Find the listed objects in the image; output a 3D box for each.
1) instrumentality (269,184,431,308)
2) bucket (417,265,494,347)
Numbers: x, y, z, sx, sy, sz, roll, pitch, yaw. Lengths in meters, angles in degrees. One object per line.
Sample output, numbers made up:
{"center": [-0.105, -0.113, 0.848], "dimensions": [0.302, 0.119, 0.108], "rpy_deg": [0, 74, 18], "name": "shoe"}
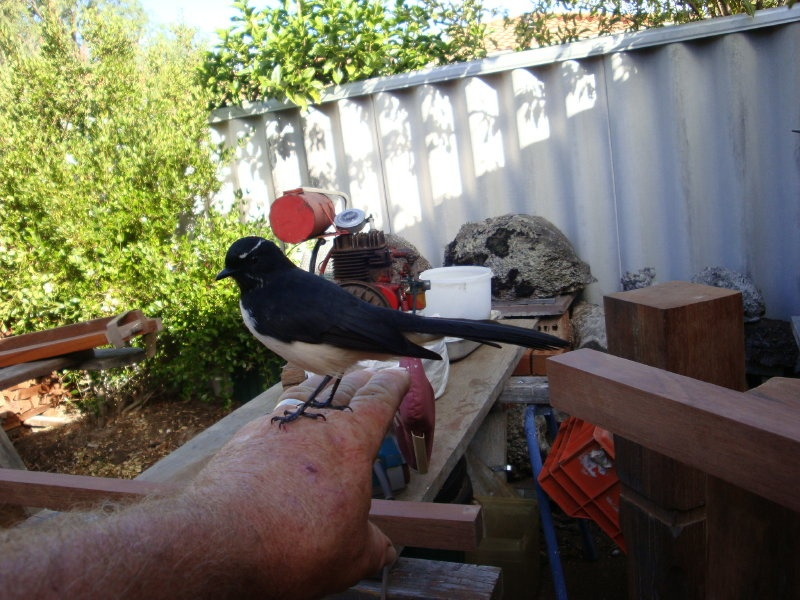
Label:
{"center": [-0.291, -0.185, 3.368], "dimensions": [0.913, 0.924, 0.422], "rpy_deg": [5, 9, 12], "name": "instrumentality"}
{"center": [0.347, 0.020, 3.107], "dimensions": [0.427, 0.312, 0.435], "rpy_deg": [-1, 2, 0], "name": "bucket"}
